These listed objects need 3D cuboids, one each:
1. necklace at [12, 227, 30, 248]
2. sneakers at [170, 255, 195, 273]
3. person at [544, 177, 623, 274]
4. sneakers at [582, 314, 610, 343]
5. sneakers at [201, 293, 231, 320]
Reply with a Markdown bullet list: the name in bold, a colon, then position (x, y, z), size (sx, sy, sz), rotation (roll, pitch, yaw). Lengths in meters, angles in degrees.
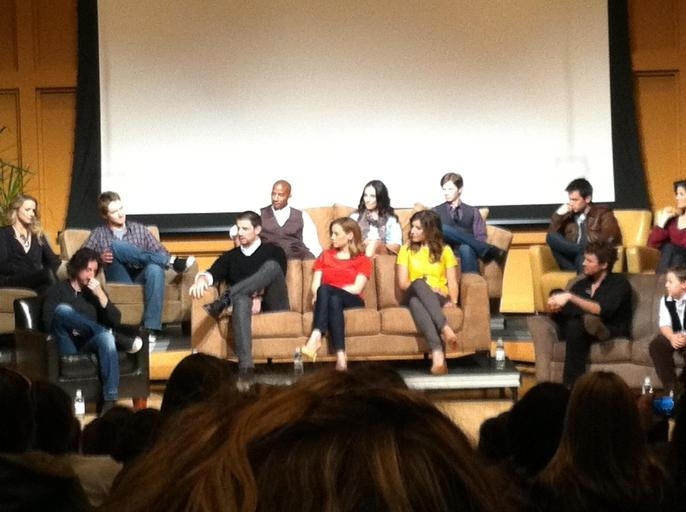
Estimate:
- **necklace**: position (-2.249, -0.124, 4.625), size (0.101, 0.174, 0.047), rotation (15, -39, -38)
- **sneakers**: position (-1.072, 0.048, 4.425), size (0.089, 0.082, 0.206), rotation (15, -19, -42)
- **person**: position (1.749, -0.226, 5.138), size (0.498, 0.838, 0.745), rotation (-2, -7, 26)
- **sneakers**: position (1.281, 0.373, 3.402), size (0.180, 0.110, 0.072), rotation (31, -51, -26)
- **sneakers**: position (-0.678, 0.274, 3.595), size (0.100, 0.077, 0.209), rotation (-43, -2, -5)
